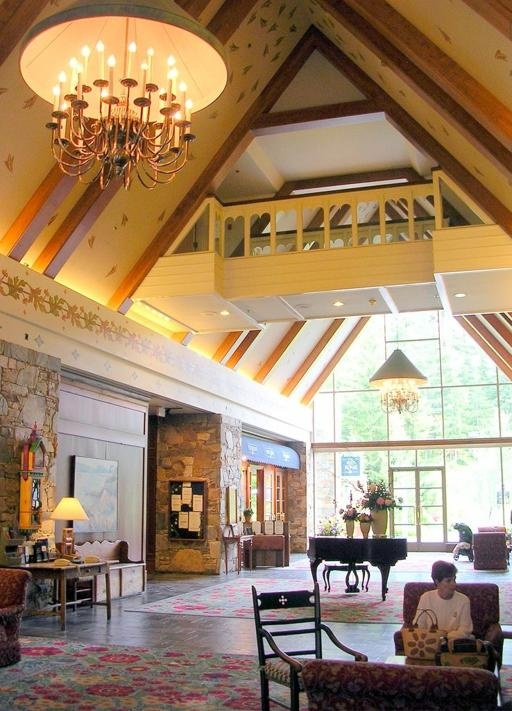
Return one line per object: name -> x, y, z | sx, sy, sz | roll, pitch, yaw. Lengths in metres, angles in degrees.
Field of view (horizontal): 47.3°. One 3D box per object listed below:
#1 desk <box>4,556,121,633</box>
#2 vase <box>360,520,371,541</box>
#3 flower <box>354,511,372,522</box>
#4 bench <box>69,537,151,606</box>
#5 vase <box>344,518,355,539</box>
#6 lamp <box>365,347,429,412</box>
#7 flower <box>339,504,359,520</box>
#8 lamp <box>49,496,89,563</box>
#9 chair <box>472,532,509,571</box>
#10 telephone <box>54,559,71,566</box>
desk -> -2.236, 2.796, 6.767 | 0.627, 0.704, 1.070 | -5, -16, 11
vase -> 1.847, 2.923, 9.727 | 0.245, 0.299, 0.243 | 10, -20, -6
flower -> 1.839, 2.692, 9.773 | 0.157, 0.115, 0.154 | 3, -2, -38
bench -> -2.179, 3.194, 8.722 | 0.427, 0.826, 1.297 | -9, -18, 18
vase -> 1.605, 2.940, 9.956 | 0.165, 0.286, 0.605 | -1, -11, 9
lamp -> 3.671, 0.650, 15.104 | 1.527, 1.667, 1.537 | -4, 9, -2
flower -> 1.616, 2.720, 10.098 | 0.314, 0.301, 0.313 | 9, -9, 12
lamp -> -2.244, 2.076, 7.043 | 0.437, 0.684, 0.427 | -5, -16, 6
chair -> 5.431, 4.557, 13.749 | 0.827, 0.882, 0.827 | -2, -14, 17
telephone -> -2.127, 2.279, 6.455 | 0.097, 0.042, 0.132 | 2, -3, 1
